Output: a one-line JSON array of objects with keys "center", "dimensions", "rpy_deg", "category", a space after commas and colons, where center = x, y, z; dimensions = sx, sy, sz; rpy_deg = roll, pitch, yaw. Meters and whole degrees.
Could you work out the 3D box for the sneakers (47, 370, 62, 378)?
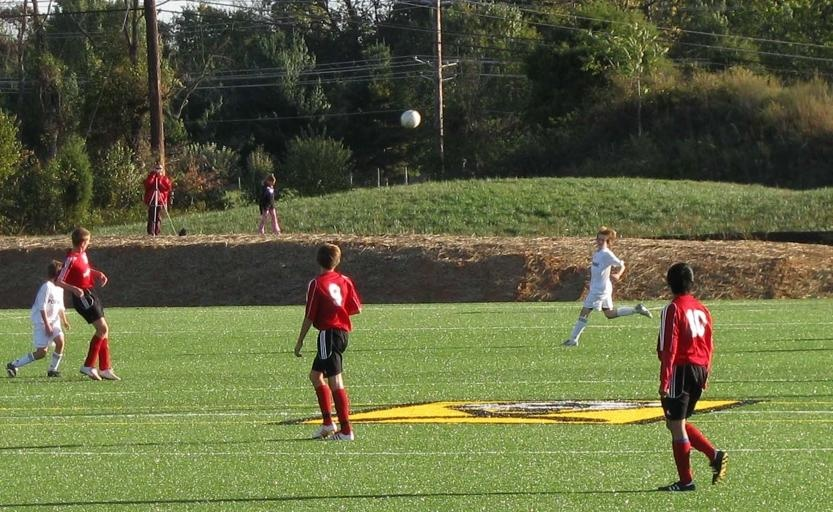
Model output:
[{"center": [-17.662, 5.604, 91.478], "dimensions": [0.675, 0.282, 0.243], "rpy_deg": [-2, 3, 5], "category": "sneakers"}]
